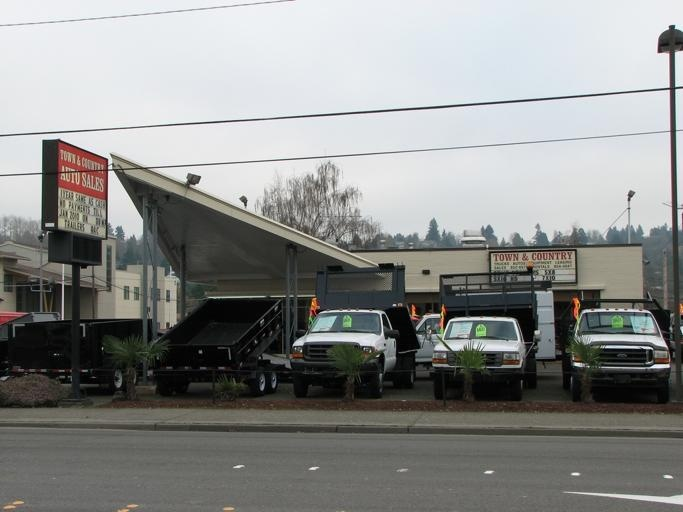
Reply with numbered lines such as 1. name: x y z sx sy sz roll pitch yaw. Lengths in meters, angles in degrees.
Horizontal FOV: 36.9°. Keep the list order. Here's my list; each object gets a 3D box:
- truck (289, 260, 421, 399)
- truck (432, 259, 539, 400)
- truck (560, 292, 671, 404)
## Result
1. truck: 0.475 2.414 31.277 2.459 3.182 5.523 -2 -10 14
2. truck: 4.499 2.487 31.400 2.963 3.912 7.237 -2 -5 16
3. truck: 8.244 2.999 30.414 2.958 3.498 7.094 0 -10 10
